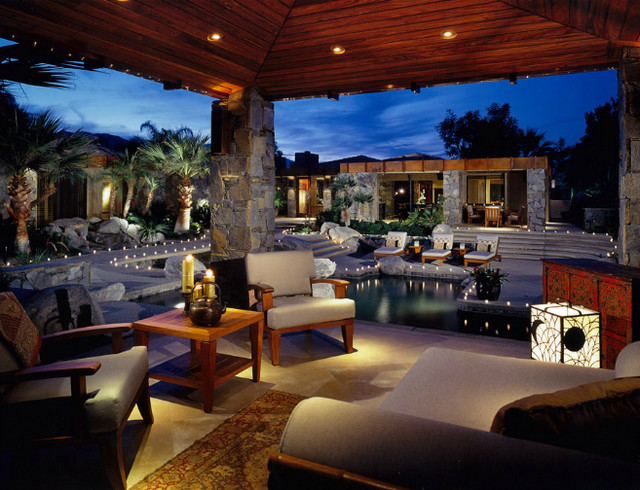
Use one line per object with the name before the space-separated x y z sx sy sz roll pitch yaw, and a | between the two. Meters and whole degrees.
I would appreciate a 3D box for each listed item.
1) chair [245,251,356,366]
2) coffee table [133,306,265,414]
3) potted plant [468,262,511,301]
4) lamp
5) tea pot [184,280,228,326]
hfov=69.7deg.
chair | -0.070 0.590 4.948 1.244 0.969 1.213 -2 4 -26
coffee table | -0.971 0.791 3.731 0.940 0.557 0.853 3 5 29
potted plant | 3.020 0.604 7.867 0.805 0.594 0.694 1 -1 -2
lamp | 1.874 0.625 3.530 0.497 0.524 0.353 -1 4 -20
tea pot | -0.861 0.446 3.569 0.374 0.289 0.250 4 12 23
